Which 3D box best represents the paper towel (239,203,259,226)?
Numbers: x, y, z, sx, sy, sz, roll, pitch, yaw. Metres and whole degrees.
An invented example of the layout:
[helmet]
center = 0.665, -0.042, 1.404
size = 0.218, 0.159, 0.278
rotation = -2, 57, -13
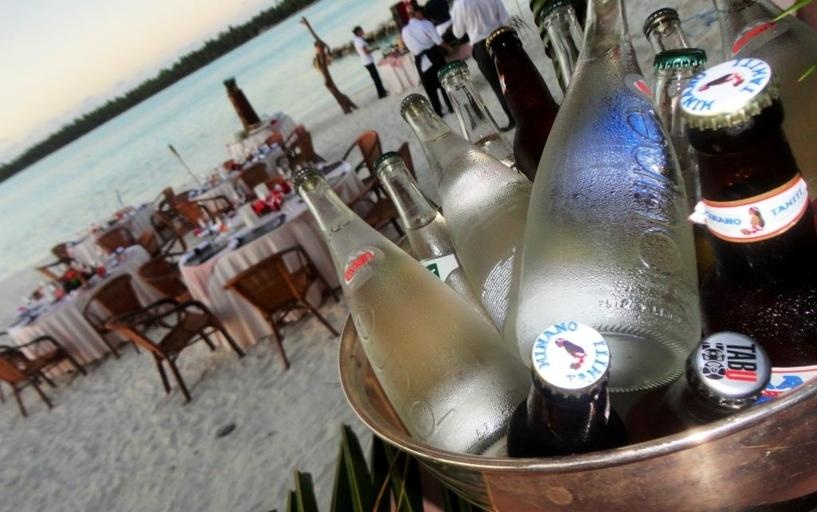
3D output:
[paper towel]
center = -0.918, -0.255, 3.545
size = 0.086, 0.128, 0.127
rotation = -38, 19, -9
